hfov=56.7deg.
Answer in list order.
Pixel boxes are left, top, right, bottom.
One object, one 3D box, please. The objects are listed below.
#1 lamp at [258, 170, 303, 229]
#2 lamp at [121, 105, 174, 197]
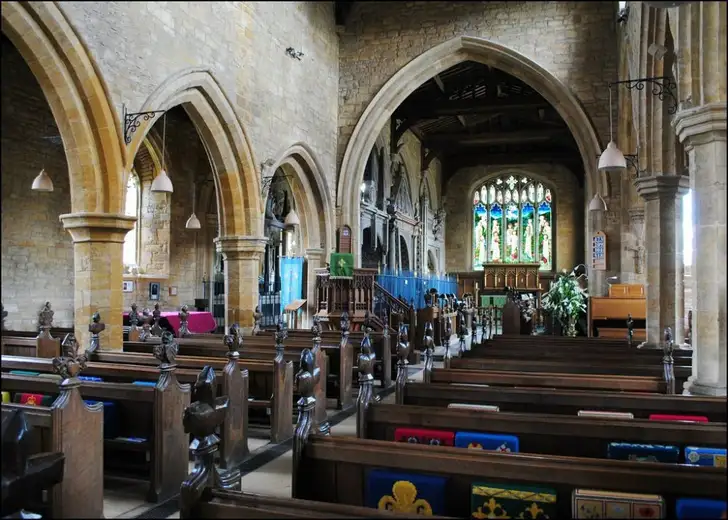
[{"bbox_3d":[-2.110,-1.477,16.686,0.889,1.269,1.396,2,-5,-35],"label":"lamp"},{"bbox_3d":[-3.037,-1.532,9.394,0.774,1.318,0.388,1,-9,-16],"label":"lamp"}]
